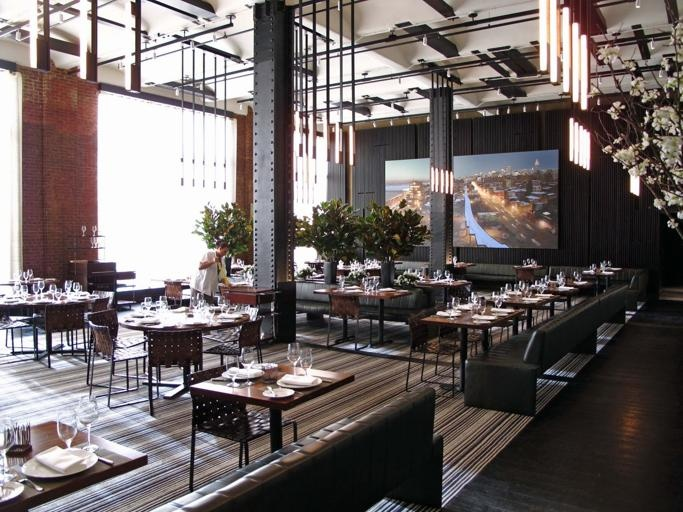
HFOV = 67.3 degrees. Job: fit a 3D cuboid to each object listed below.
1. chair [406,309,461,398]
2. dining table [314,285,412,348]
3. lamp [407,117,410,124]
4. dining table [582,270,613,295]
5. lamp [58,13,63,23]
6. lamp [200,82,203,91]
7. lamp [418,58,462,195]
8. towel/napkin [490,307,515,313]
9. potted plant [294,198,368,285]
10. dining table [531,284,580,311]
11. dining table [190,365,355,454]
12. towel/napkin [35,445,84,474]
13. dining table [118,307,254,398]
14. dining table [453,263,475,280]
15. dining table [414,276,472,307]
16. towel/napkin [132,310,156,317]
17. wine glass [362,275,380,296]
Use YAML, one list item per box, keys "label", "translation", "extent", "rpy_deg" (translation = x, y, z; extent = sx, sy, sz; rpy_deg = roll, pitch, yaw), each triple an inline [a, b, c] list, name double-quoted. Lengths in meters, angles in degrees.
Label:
- label: "chair"
  translation: [1.183, 1.266, 6.531]
  extent: [0.645, 0.969, 1.107]
  rpy_deg: [-2, 0, 28]
- label: "dining table"
  translation: [0.378, 1.175, 8.734]
  extent: [1.802, 1.038, 1.007]
  rpy_deg: [1, 4, 38]
- label: "lamp"
  translation: [2.276, -4.606, 17.561]
  extent: [0.133, 0.164, 0.063]
  rpy_deg: [0, 13, 10]
- label: "dining table"
  translation: [6.290, 0.650, 12.552]
  extent: [0.823, 0.697, 0.809]
  rpy_deg: [-1, -2, 31]
- label: "lamp"
  translation: [-5.241, -4.415, 9.543]
  extent: [0.067, 0.186, 0.139]
  rpy_deg: [-6, 2, -27]
- label: "lamp"
  translation: [-3.917, -4.622, 14.185]
  extent: [0.033, 0.205, 0.079]
  rpy_deg: [-6, 2, -6]
- label: "lamp"
  translation: [2.440, -2.964, 12.386]
  extent: [0.727, 2.367, 1.912]
  rpy_deg: [-5, 1, 14]
- label: "towel/napkin"
  translation: [2.050, 0.717, 6.574]
  extent: [0.194, 0.047, 0.191]
  rpy_deg: [1, 1, 41]
- label: "potted plant"
  translation: [-0.084, -0.227, 10.734]
  extent: [1.620, 1.806, 1.841]
  rpy_deg: [-1, 0, 41]
- label: "dining table"
  translation: [4.071, 0.718, 9.731]
  extent: [0.929, 0.597, 0.912]
  rpy_deg: [-1, -1, 31]
- label: "dining table"
  translation: [-0.510, 1.062, 3.974]
  extent: [0.844, 0.718, 0.840]
  rpy_deg: [3, 5, 36]
- label: "towel/napkin"
  translation: [-1.491, 1.073, 2.725]
  extent: [0.255, 0.079, 0.145]
  rpy_deg: [-4, 1, 32]
- label: "dining table"
  translation: [-1.960, 0.943, 5.990]
  extent: [1.226, 0.650, 1.197]
  rpy_deg: [2, 3, 28]
- label: "dining table"
  translation: [3.636, 0.478, 14.975]
  extent: [0.663, 0.266, 1.003]
  rpy_deg: [1, 3, 25]
- label: "dining table"
  translation: [2.040, 0.620, 10.340]
  extent: [0.871, 0.480, 0.870]
  rpy_deg: [-1, -1, 34]
- label: "towel/napkin"
  translation: [-2.557, 0.749, 6.616]
  extent: [0.285, 0.057, 0.247]
  rpy_deg: [0, -1, -3]
- label: "wine glass"
  translation: [0.529, 0.526, 8.967]
  extent: [0.298, 0.287, 0.296]
  rpy_deg: [0, -4, -1]
